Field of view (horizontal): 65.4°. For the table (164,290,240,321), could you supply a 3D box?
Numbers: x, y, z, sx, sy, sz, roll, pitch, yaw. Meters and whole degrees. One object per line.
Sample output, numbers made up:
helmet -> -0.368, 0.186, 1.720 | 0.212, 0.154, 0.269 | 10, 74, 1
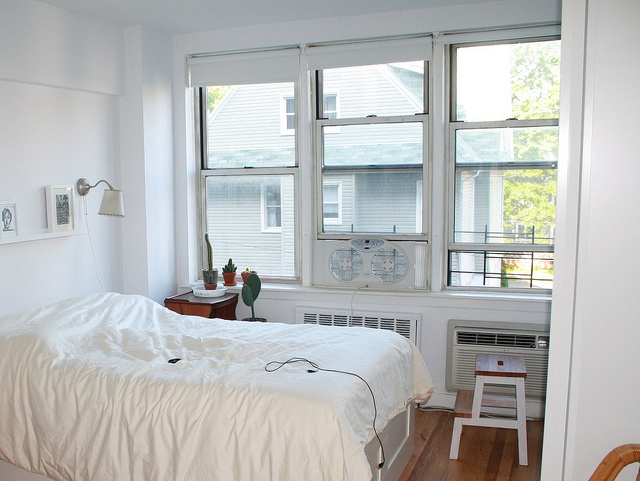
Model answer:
table -> -0.956, 0.486, 4.052 | 0.422, 0.254, 0.454 | 8, 7, 18

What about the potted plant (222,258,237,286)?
potted plant -> -0.775, 0.270, 4.254 | 0.115, 0.227, 0.108 | 0, 4, -24

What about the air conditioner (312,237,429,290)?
air conditioner -> 0.407, 0.180, 4.106 | 0.939, 0.449, 0.171 | 0, 7, 15

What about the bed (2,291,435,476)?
bed -> -0.638, 0.753, 2.557 | 1.692, 0.567, 1.231 | 1, 5, 12

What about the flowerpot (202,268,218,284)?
flowerpot -> -0.931, 0.302, 4.191 | 0.126, 0.123, 0.152 | 1, 3, -14

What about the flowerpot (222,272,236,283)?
flowerpot -> -0.772, 0.313, 4.218 | 0.088, 0.070, 0.082 | 3, -5, -34

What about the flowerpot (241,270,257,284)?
flowerpot -> -0.622, 0.312, 4.255 | 0.102, 0.083, 0.108 | 1, -4, -1
